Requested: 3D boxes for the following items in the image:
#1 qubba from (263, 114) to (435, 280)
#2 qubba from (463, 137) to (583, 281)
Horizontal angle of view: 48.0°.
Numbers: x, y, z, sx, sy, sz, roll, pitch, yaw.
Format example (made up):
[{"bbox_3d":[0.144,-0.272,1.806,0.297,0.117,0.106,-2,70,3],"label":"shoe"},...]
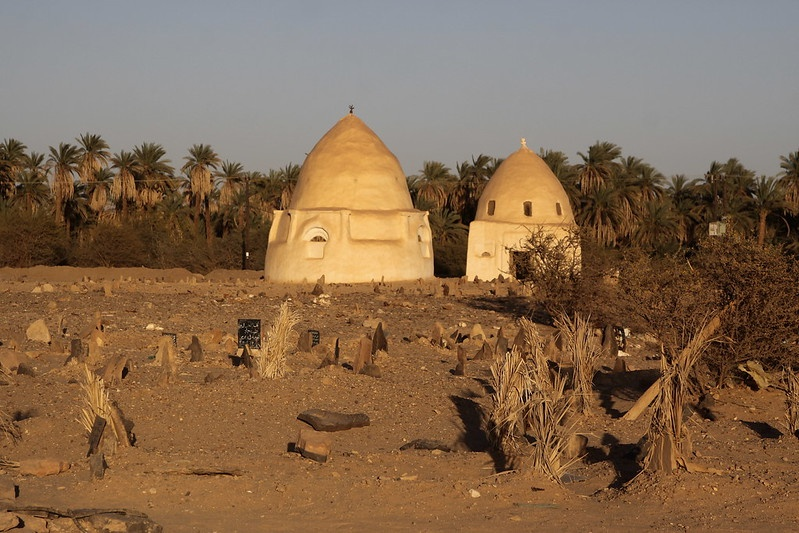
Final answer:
[{"bbox_3d":[-1.320,-1.702,26.962,4.740,5.490,4.869,0,1,-1],"label":"qubba"},{"bbox_3d":[4.037,-1.806,29.137,3.977,4.737,4.169,0,3,-1],"label":"qubba"}]
